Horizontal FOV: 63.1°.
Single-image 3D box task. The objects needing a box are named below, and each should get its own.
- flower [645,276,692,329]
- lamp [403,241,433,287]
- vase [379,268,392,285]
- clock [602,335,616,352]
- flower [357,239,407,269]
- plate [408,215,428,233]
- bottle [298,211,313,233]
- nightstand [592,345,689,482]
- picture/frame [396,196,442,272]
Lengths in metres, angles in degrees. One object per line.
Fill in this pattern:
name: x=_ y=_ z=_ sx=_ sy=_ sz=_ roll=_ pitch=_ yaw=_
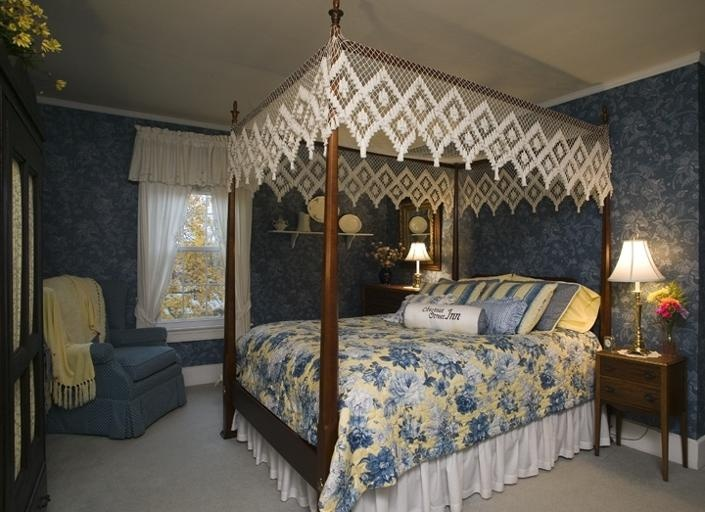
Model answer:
flower: x=2.600 y=0.331 z=4.843 sx=0.293 sy=0.449 sz=0.374 roll=-16 pitch=7 yaw=-20
lamp: x=0.807 y=0.110 z=6.849 sx=0.395 sy=0.806 sz=0.436 roll=0 pitch=-2 yaw=1
vase: x=0.401 y=0.263 z=7.249 sx=0.157 sy=0.227 sz=0.172 roll=0 pitch=4 yaw=-5
clock: x=2.203 y=0.754 z=4.961 sx=0.098 sy=0.161 sz=0.052 roll=3 pitch=5 yaw=27
flower: x=0.418 y=-0.037 z=7.585 sx=0.405 sy=0.319 sz=0.382 roll=6 pitch=-8 yaw=-40
plate: x=0.828 y=-0.393 z=7.223 sx=0.187 sy=0.215 sz=0.043 roll=22 pitch=14 yaw=40
bottle: x=-0.588 y=-0.402 z=6.919 sx=0.145 sy=0.258 sz=0.225 roll=-6 pitch=-17 yaw=13
nightstand: x=2.377 y=1.284 z=4.718 sx=0.527 sy=1.295 sz=0.805 roll=3 pitch=-6 yaw=-30
picture/frame: x=0.831 y=-0.277 z=7.051 sx=0.068 sy=1.064 sz=0.829 roll=-1 pitch=2 yaw=-26
